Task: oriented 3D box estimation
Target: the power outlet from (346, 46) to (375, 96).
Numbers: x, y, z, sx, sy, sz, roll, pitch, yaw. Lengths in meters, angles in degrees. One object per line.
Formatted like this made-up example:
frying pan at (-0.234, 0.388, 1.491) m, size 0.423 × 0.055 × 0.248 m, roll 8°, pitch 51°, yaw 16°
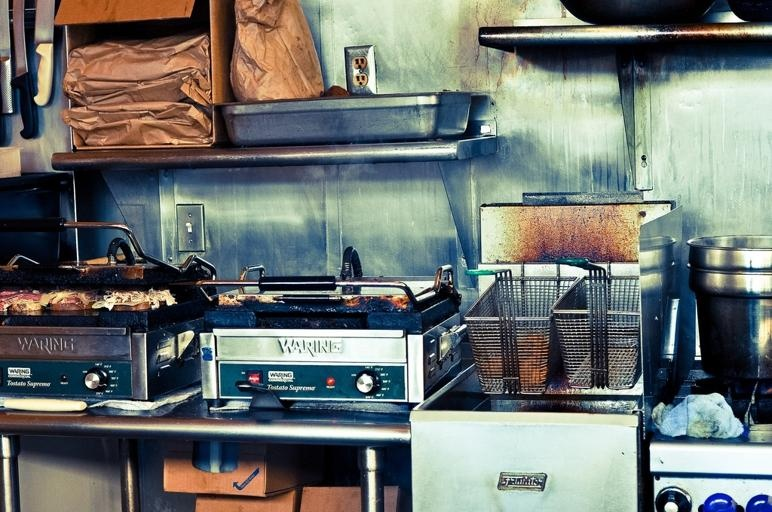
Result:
power outlet at (-0.098, -0.700, 5.100) m, size 0.117 × 0.197 × 0.211 m, roll -2°, pitch 1°, yaw -1°

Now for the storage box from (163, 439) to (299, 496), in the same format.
storage box at (-0.559, 0.780, 4.929) m, size 0.496 × 0.215 × 0.184 m, roll -2°, pitch 1°, yaw -5°
